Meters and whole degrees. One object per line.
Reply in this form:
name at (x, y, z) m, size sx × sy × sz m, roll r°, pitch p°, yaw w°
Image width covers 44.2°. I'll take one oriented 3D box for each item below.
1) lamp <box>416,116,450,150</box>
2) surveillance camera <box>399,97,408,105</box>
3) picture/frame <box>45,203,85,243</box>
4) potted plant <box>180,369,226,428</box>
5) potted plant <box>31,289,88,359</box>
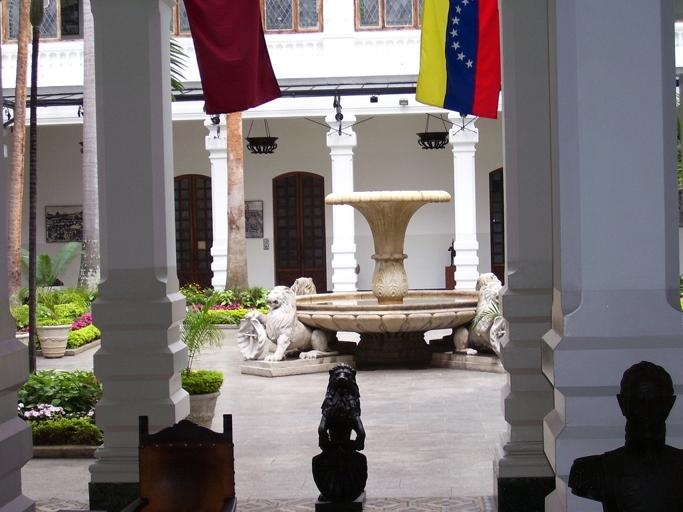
lamp at (1.819, -2.386, 16.249) m, size 0.486 × 0.715 × 0.531 m, roll -1°, pitch -1°, yaw 7°
surveillance camera at (1.274, -3.133, 17.188) m, size 0.192 × 0.144 × 0.146 m, roll 1°, pitch 5°, yaw 4°
picture/frame at (-6.724, -0.803, 20.418) m, size 0.757 × 1.286 × 0.039 m, roll -2°, pitch 2°, yaw -5°
potted plant at (-1.212, 1.193, 7.387) m, size 0.421 × 0.621 × 0.480 m, roll 0°, pitch -1°, yaw -9°
potted plant at (-4.156, 0.989, 12.073) m, size 0.619 × 0.928 × 0.725 m, roll -4°, pitch -7°, yaw 12°
